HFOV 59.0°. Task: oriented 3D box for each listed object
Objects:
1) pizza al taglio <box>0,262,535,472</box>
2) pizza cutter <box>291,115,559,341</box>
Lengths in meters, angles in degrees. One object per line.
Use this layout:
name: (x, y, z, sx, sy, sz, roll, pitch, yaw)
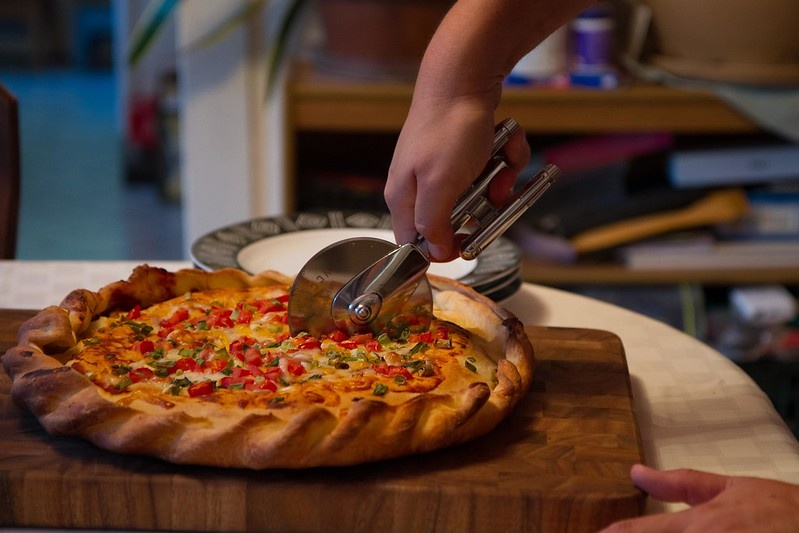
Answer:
pizza al taglio: (-0.324, 0.260, 1.711, 0.769, 0.109, 0.667, 0, 13, -7)
pizza cutter: (0.088, -0.036, 1.830, 0.134, 0.816, 0.390, 39, 53, -6)
